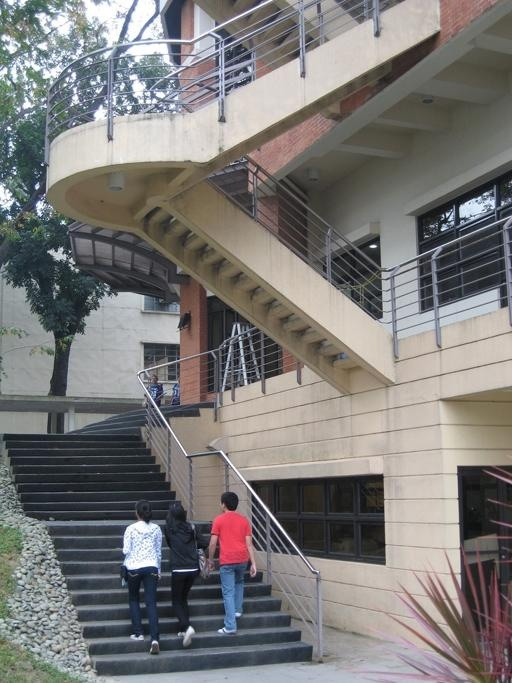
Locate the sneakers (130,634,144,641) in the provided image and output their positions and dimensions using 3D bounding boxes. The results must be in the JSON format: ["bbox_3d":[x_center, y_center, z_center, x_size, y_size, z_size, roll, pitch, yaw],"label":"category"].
[{"bbox_3d":[-1.225,2.997,10.093,0.052,0.057,0.142,9,-9,-37],"label":"sneakers"}]

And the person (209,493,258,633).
[{"bbox_3d":[-0.291,2.382,10.676,0.476,1.481,0.507,2,-9,-2],"label":"person"}]

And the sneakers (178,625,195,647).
[{"bbox_3d":[-0.709,3.003,10.151,0.107,0.137,0.328,-4,-43,-26],"label":"sneakers"}]

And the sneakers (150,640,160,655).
[{"bbox_3d":[-1.019,3.035,9.871,0.077,0.143,0.110,4,-9,-12],"label":"sneakers"}]

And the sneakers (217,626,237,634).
[{"bbox_3d":[-0.326,3.081,10.594,0.188,0.075,0.231,2,-10,0],"label":"sneakers"}]

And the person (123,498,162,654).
[{"bbox_3d":[-1.174,2.392,10.158,0.486,1.499,0.388,0,-9,13],"label":"person"}]

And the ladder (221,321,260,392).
[{"bbox_3d":[-0.276,0.295,17.234,0.848,0.875,2.255,-8,-11,3],"label":"ladder"}]

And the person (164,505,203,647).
[{"bbox_3d":[-0.751,2.436,10.364,0.384,1.446,0.546,7,-10,-29],"label":"person"}]
